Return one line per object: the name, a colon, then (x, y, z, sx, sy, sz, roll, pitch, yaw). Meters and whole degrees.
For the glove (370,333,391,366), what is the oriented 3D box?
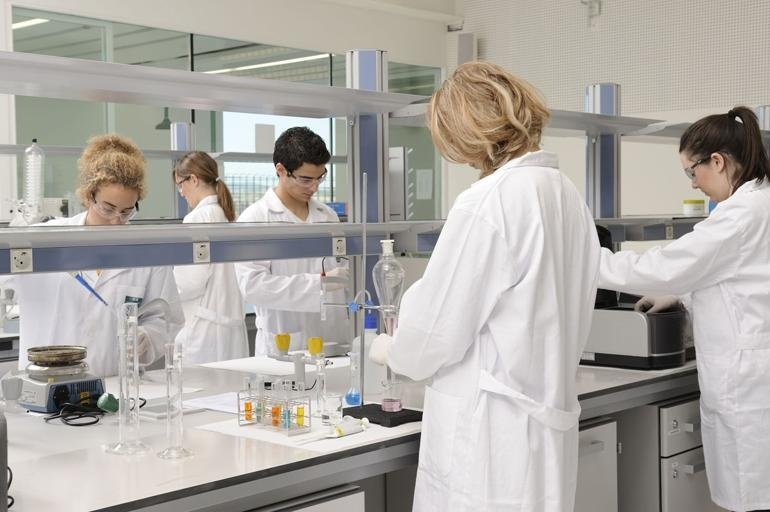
glove: (-0.010, 0.311, 2.316, 0.093, 0.089, 0.037, 15, 2, -24)

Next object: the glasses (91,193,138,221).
glasses: (-1.100, -0.205, 2.796, 0.115, 0.038, 0.116, 9, 9, -43)

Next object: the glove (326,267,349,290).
glove: (-0.215, 0.097, 3.109, 0.077, 0.048, 0.103, -8, -6, -13)

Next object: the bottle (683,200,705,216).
bottle: (1.960, -0.302, 4.500, 0.157, 0.107, 0.154, -1, 1, 0)

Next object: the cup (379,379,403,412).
cup: (0.024, 0.506, 2.500, 0.074, 0.095, 0.094, 0, -2, 9)

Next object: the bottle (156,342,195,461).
bottle: (-0.670, 0.425, 2.184, 0.095, 0.347, 0.294, -4, 12, -19)

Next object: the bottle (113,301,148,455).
bottle: (-0.852, 0.348, 2.274, 0.104, 0.467, 0.441, -4, 12, -20)

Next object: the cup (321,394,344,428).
cup: (-0.166, 0.509, 2.272, 0.079, 0.098, 0.103, 1, -2, 1)
